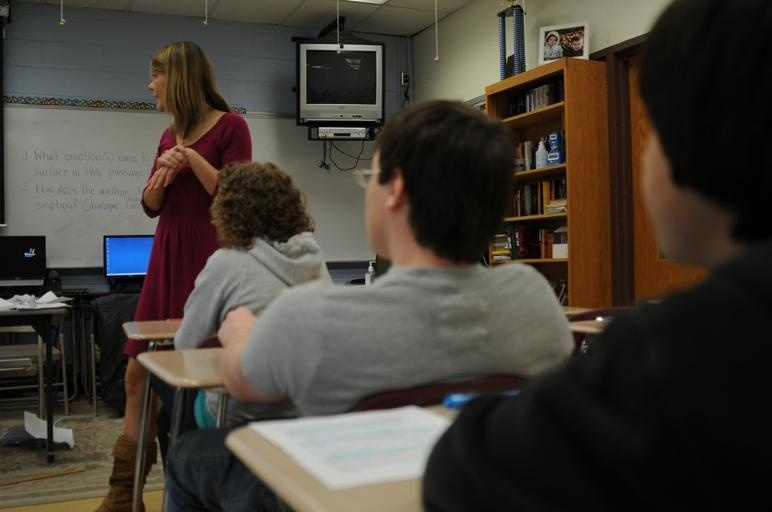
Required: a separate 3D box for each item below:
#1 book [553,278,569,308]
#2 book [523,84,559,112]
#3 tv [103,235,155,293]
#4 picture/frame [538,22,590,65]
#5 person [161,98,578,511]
[{"bbox_3d":[1.405,0.286,4.688,0.070,0.210,0.134,2,-2,-13],"label":"book"},{"bbox_3d":[1.242,-1.254,4.679,0.113,0.215,0.211,7,-11,-28],"label":"book"},{"bbox_3d":[-2.055,0.039,4.718,0.445,0.487,0.155,0,-3,-11],"label":"tv"},{"bbox_3d":[1.372,-1.620,4.508,0.408,0.317,0.036,1,-7,42],"label":"picture/frame"},{"bbox_3d":[0.017,0.096,1.197,0.617,0.872,0.645,-2,7,-28],"label":"person"}]
